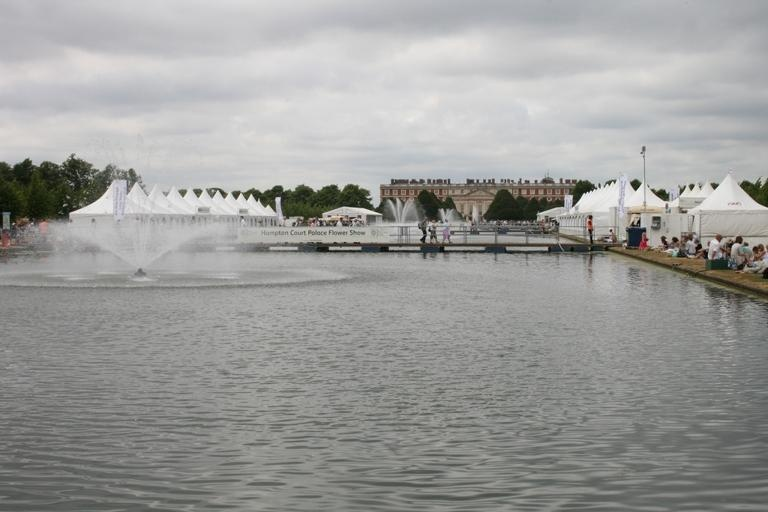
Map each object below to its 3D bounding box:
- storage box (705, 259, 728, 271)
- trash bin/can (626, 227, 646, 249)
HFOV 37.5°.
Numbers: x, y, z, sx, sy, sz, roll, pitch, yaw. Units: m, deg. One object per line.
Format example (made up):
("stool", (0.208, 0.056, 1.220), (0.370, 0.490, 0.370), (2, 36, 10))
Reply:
("storage box", (10.686, 0.250, 36.540), (0.688, 0.329, 0.527), (2, 8, 7))
("trash bin/can", (12.029, -0.900, 54.767), (1.367, 1.235, 1.003), (0, -1, 11))
